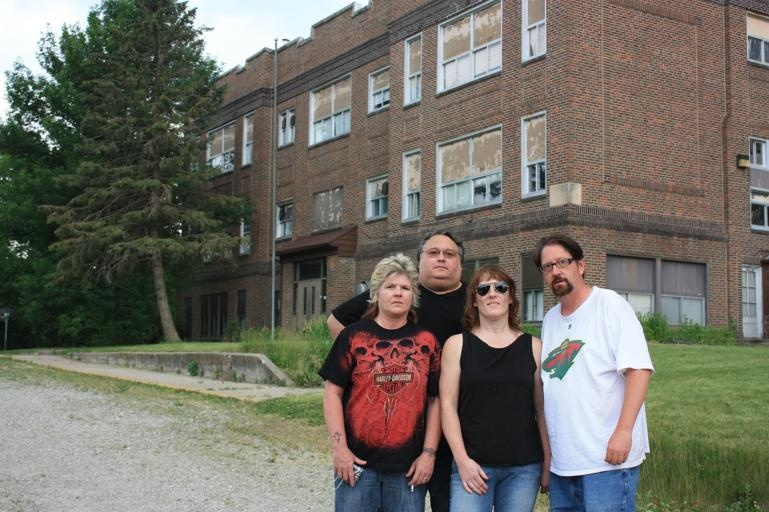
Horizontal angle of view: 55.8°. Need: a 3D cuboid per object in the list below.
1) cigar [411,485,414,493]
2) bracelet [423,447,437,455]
[{"bbox_3d":[0.286,2.517,7.868,0.047,0.063,0.007,-6,7,-1],"label":"cigar"},{"bbox_3d":[0.479,2.114,7.911,0.085,0.039,0.086,2,-5,-30],"label":"bracelet"}]
